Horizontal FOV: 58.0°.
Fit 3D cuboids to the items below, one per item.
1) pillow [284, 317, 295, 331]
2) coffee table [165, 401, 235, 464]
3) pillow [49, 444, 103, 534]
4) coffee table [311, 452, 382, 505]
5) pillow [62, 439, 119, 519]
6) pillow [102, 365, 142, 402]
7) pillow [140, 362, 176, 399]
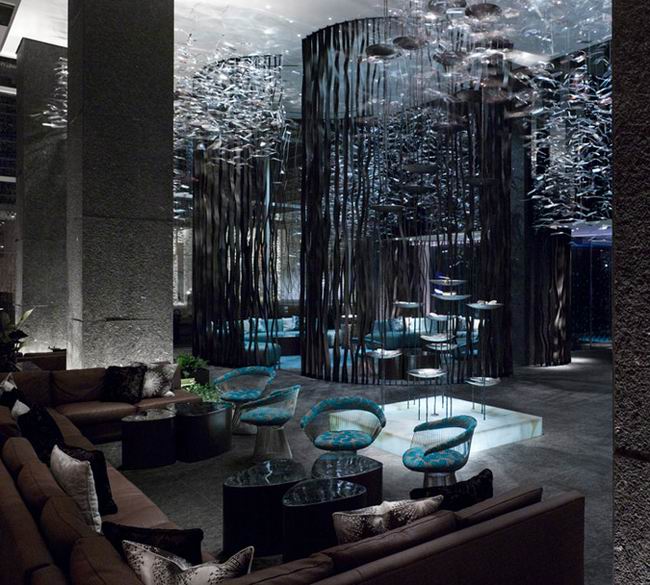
[{"bbox_3d":[-0.805,0.735,13.467,0.276,0.253,0.112,-2,-25,-17],"label":"pillow"},{"bbox_3d":[-1.110,1.143,5.374,0.414,0.487,0.738,-2,-5,32],"label":"coffee table"},{"bbox_3d":[-1.138,0.900,2.676,0.069,0.222,0.408,-11,24,-31],"label":"pillow"},{"bbox_3d":[0.157,1.123,3.736,0.371,0.299,0.348,-1,0,-9],"label":"coffee table"},{"bbox_3d":[-1.193,1.008,3.111,0.118,0.364,0.405,-19,12,-40],"label":"pillow"},{"bbox_3d":[-2.027,0.923,5.845,0.376,0.323,0.153,3,-13,10],"label":"pillow"},{"bbox_3d":[-1.728,0.905,6.061,0.326,0.284,0.097,10,-9,-42],"label":"pillow"}]
